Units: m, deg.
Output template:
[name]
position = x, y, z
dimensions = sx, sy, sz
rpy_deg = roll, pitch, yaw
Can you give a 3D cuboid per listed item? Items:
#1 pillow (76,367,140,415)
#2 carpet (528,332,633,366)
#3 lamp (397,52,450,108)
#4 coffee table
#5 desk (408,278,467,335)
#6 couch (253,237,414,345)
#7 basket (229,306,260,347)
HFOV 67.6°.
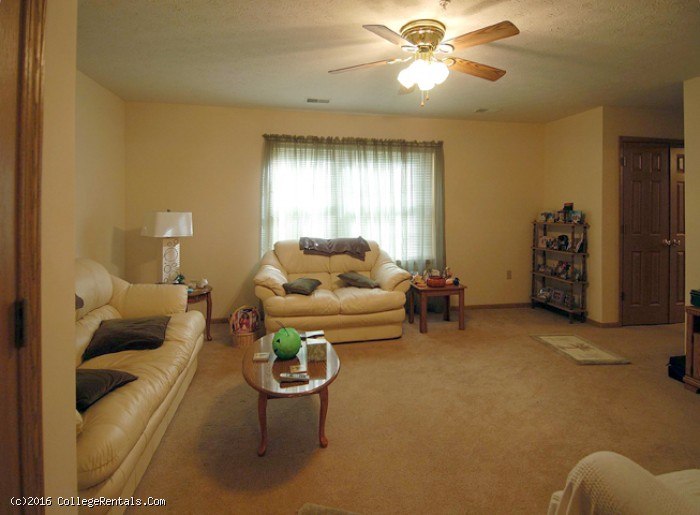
[pillow]
position = -1.584, 0.795, 3.259
dimensions = 0.291, 0.173, 0.412
rpy_deg = 3, 7, 28
[carpet]
position = 2.230, 0.888, 5.128
dimensions = 0.502, 0.056, 0.924
rpy_deg = -1, 6, -11
[lamp]
position = 0.555, -1.375, 4.131
dimensions = 0.447, 0.389, 0.495
rpy_deg = -1, 11, -4
[coffee table]
position = -0.413, 0.903, 3.684
dimensions = 0.669, 0.730, 0.883
rpy_deg = -2, 6, -16
[desk]
position = 0.988, 0.513, 6.098
dimensions = 0.649, 0.512, 0.997
rpy_deg = 0, 6, 5
[couch]
position = -0.213, 0.338, 5.652
dimensions = 1.607, 0.992, 1.087
rpy_deg = -1, 6, -12
[basket]
position = -1.064, 0.687, 5.241
dimensions = 0.320, 0.427, 0.337
rpy_deg = -1, 0, -36
